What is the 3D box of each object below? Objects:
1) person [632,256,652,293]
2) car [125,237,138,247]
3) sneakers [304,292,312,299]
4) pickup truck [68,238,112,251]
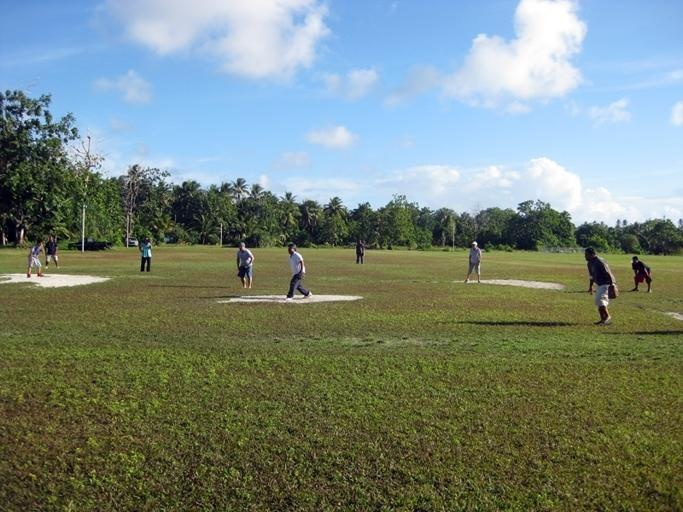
[{"bbox_3d":[13.253,0.782,26.772,0.749,1.654,2.599,1,0,26],"label":"person"},{"bbox_3d":[-31.214,-2.072,90.830,1.467,1.375,2.646,2,19,-22],"label":"car"},{"bbox_3d":[-1.246,1.436,22.219,0.180,0.248,0.519,2,5,4],"label":"sneakers"},{"bbox_3d":[-29.001,-1.231,69.711,3.177,1.084,2.037,3,-2,-9],"label":"pickup truck"}]
